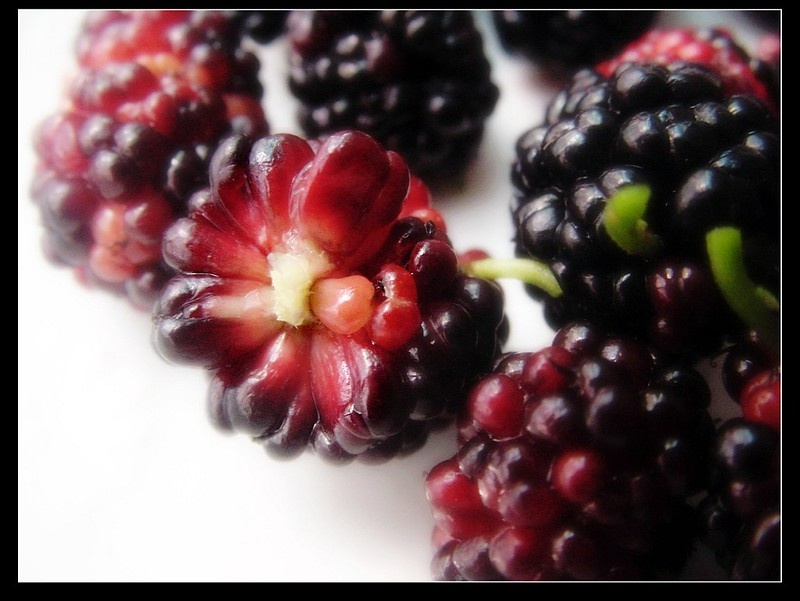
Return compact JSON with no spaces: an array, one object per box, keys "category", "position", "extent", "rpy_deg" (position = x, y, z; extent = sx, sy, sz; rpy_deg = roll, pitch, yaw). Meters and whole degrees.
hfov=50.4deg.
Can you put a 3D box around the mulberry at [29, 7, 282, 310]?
[{"category":"mulberry","position":[-0.304,-0.160,1.035],"extent":[0.259,0.338,0.183],"rpy_deg":[5,-12,-14]}]

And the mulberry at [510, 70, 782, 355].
[{"category":"mulberry","position":[0.223,-0.068,1.020],"extent":[0.297,0.275,0.413],"rpy_deg":[-5,-1,38]}]

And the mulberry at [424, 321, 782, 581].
[{"category":"mulberry","position":[0.206,0.160,0.853],"extent":[0.362,0.227,0.172],"rpy_deg":[-6,34,-4]}]
